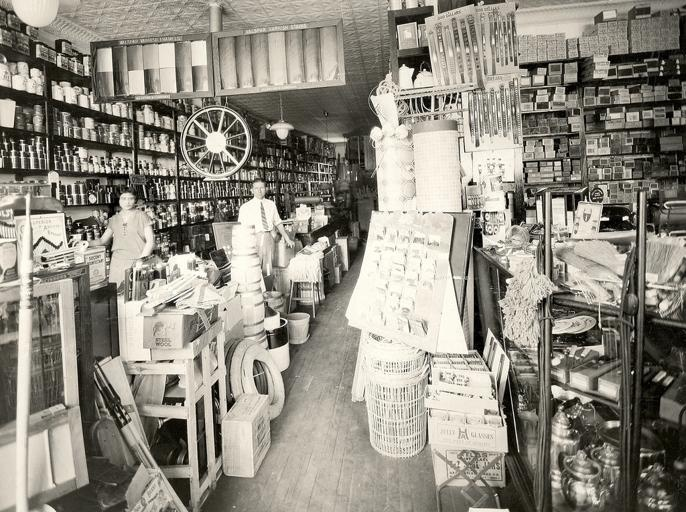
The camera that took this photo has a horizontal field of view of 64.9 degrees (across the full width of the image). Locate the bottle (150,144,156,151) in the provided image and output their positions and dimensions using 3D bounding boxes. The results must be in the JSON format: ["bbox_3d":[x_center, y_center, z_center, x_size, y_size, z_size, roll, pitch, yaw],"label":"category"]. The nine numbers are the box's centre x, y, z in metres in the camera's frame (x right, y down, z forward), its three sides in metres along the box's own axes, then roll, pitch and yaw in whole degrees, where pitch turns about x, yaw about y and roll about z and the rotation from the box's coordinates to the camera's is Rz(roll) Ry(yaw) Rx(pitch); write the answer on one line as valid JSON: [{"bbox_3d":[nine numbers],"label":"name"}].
[{"bbox_3d":[-2.692,-1.564,7.682,0.064,0.143,0.071,1,-1,1],"label":"bottle"}]

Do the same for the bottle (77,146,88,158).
[{"bbox_3d":[-2.995,-1.214,6.235,0.098,0.188,0.110,-2,5,-2],"label":"bottle"}]

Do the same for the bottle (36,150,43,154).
[{"bbox_3d":[-3.077,-1.079,5.496,0.032,0.039,0.059,8,16,35],"label":"bottle"}]

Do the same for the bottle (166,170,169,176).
[{"bbox_3d":[-2.654,-1.279,8.192,0.020,0.089,0.087,4,7,3],"label":"bottle"}]

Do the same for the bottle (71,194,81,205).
[{"bbox_3d":[-2.977,-0.653,6.083,0.084,0.115,0.093,2,0,8],"label":"bottle"}]

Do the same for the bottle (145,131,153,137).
[{"bbox_3d":[-2.731,-1.748,7.630,0.074,0.083,0.080,-6,16,-19],"label":"bottle"}]

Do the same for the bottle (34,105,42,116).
[{"bbox_3d":[-3.085,-1.505,5.500,0.060,0.094,0.097,11,17,41],"label":"bottle"}]

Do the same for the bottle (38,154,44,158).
[{"bbox_3d":[-3.069,-1.040,5.512,0.030,0.054,0.031,0,9,0],"label":"bottle"}]

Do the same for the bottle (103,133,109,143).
[{"bbox_3d":[-2.860,-1.457,6.563,0.084,0.139,0.070,1,1,6],"label":"bottle"}]

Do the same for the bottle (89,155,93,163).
[{"bbox_3d":[-2.939,-1.152,6.330,0.045,0.096,0.048,-1,-8,0],"label":"bottle"}]

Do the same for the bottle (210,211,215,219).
[{"bbox_3d":[-2.255,-0.732,9.431,0.091,0.028,0.112,-8,33,1],"label":"bottle"}]

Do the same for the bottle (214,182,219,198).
[{"bbox_3d":[-2.332,-1.213,9.941,0.051,0.214,0.208,4,10,9],"label":"bottle"}]

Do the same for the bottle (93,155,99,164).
[{"bbox_3d":[-2.913,-1.159,6.437,0.062,0.111,0.071,-3,9,-2],"label":"bottle"}]

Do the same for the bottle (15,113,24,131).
[{"bbox_3d":[-3.149,-1.340,5.307,0.040,0.154,0.116,5,13,23],"label":"bottle"}]

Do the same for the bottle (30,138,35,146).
[{"bbox_3d":[-3.168,-1.184,5.535,0.048,0.094,0.053,-1,-2,0],"label":"bottle"}]

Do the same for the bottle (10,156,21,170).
[{"bbox_3d":[-3.154,-0.917,5.220,0.042,0.124,0.117,3,13,16],"label":"bottle"}]

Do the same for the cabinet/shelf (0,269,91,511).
[{"bbox_3d":[-1.452,0.627,2.578,0.382,0.991,0.547,-7,13,-29],"label":"cabinet/shelf"}]

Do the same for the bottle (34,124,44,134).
[{"bbox_3d":[-3.075,-1.305,5.497,0.035,0.081,0.143,3,14,14],"label":"bottle"}]

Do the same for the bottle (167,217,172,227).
[{"bbox_3d":[-2.547,-0.515,7.984,0.018,0.088,0.087,2,3,15],"label":"bottle"}]

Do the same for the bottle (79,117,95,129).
[{"bbox_3d":[-2.950,-1.576,6.286,0.123,0.158,0.131,1,13,0],"label":"bottle"}]

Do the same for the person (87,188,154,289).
[{"bbox_3d":[-2.215,0.010,5.411,0.589,1.351,0.460,-7,24,-36],"label":"person"}]

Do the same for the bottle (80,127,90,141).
[{"bbox_3d":[-2.945,-1.413,6.183,0.047,0.159,0.159,-2,-3,3],"label":"bottle"}]

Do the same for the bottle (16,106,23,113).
[{"bbox_3d":[-3.169,-1.459,5.324,0.060,0.076,0.061,1,2,0],"label":"bottle"}]

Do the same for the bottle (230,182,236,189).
[{"bbox_3d":[-2.234,-1.477,11.079,0.023,0.102,0.100,9,7,43],"label":"bottle"}]

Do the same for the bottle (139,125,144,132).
[{"bbox_3d":[-2.762,-1.779,7.427,0.063,0.080,0.066,2,13,0],"label":"bottle"}]

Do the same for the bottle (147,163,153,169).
[{"bbox_3d":[-2.735,-1.310,7.717,0.059,0.132,0.066,1,3,0],"label":"bottle"}]

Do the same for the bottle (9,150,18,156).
[{"bbox_3d":[-3.175,-1.016,5.224,0.033,0.056,0.063,7,15,31],"label":"bottle"}]

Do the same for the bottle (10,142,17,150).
[{"bbox_3d":[-3.197,-1.090,5.251,0.037,0.065,0.076,-3,13,-11],"label":"bottle"}]

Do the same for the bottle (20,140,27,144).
[{"bbox_3d":[-3.216,-1.167,5.454,0.050,0.020,0.056,1,8,4],"label":"bottle"}]

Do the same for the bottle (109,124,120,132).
[{"bbox_3d":[-2.854,-1.635,6.779,0.103,0.121,0.105,11,17,40],"label":"bottle"}]

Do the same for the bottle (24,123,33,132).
[{"bbox_3d":[-3.119,-1.296,5.377,0.060,0.054,0.066,1,3,-6],"label":"bottle"}]

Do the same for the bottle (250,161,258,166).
[{"bbox_3d":[-1.938,-2.083,11.931,0.105,0.127,0.214,2,3,0],"label":"bottle"}]

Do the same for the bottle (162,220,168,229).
[{"bbox_3d":[-2.536,-0.473,7.718,0.067,0.089,0.081,-1,4,13],"label":"bottle"}]

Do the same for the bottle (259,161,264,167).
[{"bbox_3d":[-1.853,-2.148,12.439,0.115,0.127,0.126,-5,10,-8],"label":"bottle"}]

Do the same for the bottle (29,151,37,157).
[{"bbox_3d":[-3.098,-1.038,5.425,0.048,0.042,0.053,1,2,0],"label":"bottle"}]

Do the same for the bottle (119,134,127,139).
[{"bbox_3d":[-2.781,-1.538,6.841,0.051,0.068,0.054,-1,11,0],"label":"bottle"}]

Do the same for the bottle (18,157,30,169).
[{"bbox_3d":[-3.111,-0.925,5.308,0.082,0.112,0.089,1,1,0],"label":"bottle"}]

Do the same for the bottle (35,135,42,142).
[{"bbox_3d":[-3.101,-1.209,5.537,0.033,0.074,0.076,7,14,31],"label":"bottle"}]

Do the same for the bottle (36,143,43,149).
[{"bbox_3d":[-3.093,-1.137,5.512,0.055,0.054,0.038,-9,15,-35],"label":"bottle"}]

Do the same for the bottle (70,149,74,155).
[{"bbox_3d":[-3.052,-1.193,6.110,0.045,0.013,0.053,-16,31,-12],"label":"bottle"}]

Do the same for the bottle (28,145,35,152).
[{"bbox_3d":[-3.133,-1.104,5.459,0.063,0.084,0.070,0,-1,-24],"label":"bottle"}]

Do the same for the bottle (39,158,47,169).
[{"bbox_3d":[-3.060,-0.966,5.538,0.072,0.134,0.081,0,1,-13],"label":"bottle"}]

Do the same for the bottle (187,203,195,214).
[{"bbox_3d":[-2.466,-0.804,8.821,0.135,0.137,0.148,-12,48,-24],"label":"bottle"}]

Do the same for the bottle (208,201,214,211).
[{"bbox_3d":[-2.321,-0.910,9.549,0.030,0.144,0.140,2,3,9],"label":"bottle"}]

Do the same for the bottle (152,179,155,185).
[{"bbox_3d":[-2.693,-1.077,7.696,0.021,0.084,0.077,-4,9,8],"label":"bottle"}]

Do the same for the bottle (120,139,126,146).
[{"bbox_3d":[-2.764,-1.453,6.822,0.060,0.083,0.066,1,2,0],"label":"bottle"}]
